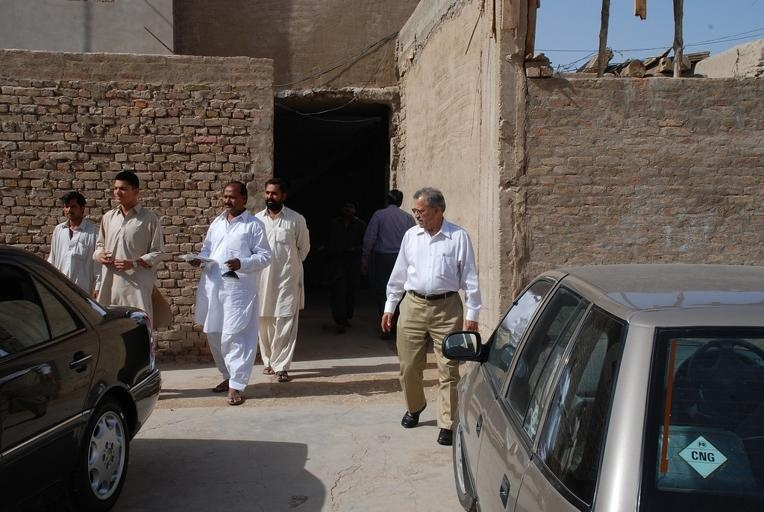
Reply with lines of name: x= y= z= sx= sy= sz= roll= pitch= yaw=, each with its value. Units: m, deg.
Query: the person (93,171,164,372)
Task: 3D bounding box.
person: x=-2.816 y=0.231 z=8.758 sx=0.718 sy=2.270 sz=0.606 roll=7 pitch=13 yaw=4

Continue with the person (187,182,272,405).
person: x=-1.603 y=0.386 z=8.589 sx=0.809 sy=2.295 sz=0.577 roll=1 pitch=6 yaw=6

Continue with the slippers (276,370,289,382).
slippers: x=-1.166 y=1.399 z=9.537 sx=0.160 sy=0.117 sz=0.245 roll=-1 pitch=7 yaw=-8

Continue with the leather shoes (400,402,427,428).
leather shoes: x=0.319 y=1.532 z=7.831 sx=0.119 sy=0.166 sz=0.370 roll=1 pitch=6 yaw=18

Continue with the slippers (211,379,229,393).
slippers: x=-1.787 y=1.425 z=8.865 sx=0.087 sy=0.094 sz=0.254 roll=1 pitch=-4 yaw=5

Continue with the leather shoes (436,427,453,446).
leather shoes: x=0.577 y=1.611 z=7.254 sx=0.145 sy=0.182 sz=0.410 roll=0 pitch=-9 yaw=4

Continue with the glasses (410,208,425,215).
glasses: x=0.329 y=-0.385 z=7.283 sx=0.057 sy=0.073 sz=0.189 roll=-2 pitch=7 yaw=-21

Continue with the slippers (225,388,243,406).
slippers: x=-1.557 y=1.483 z=8.526 sx=0.161 sy=0.144 sz=0.462 roll=0 pitch=1 yaw=-12
